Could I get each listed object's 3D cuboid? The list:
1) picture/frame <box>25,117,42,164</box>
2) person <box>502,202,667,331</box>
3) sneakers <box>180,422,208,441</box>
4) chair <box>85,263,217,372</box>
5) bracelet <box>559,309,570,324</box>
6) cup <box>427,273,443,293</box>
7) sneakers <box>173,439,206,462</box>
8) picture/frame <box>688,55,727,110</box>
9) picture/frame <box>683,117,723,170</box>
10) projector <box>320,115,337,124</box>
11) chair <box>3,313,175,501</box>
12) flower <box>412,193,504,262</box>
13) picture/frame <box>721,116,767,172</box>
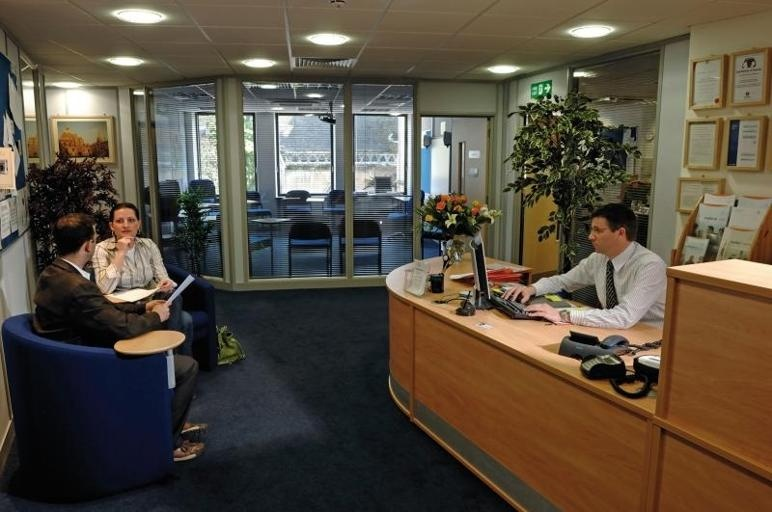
[{"bbox_3d":[-4.174,-1.348,6.049,0.061,0.778,0.734,0,6,-25],"label":"picture/frame"},{"bbox_3d":[1.691,0.025,4.044,1.292,1.046,0.905,-2,7,-9],"label":"person"},{"bbox_3d":[-1.551,1.415,4.144,0.243,0.089,0.076,-3,14,-15],"label":"sneakers"},{"bbox_3d":[-2.170,0.681,5.030,0.877,0.958,0.796,3,6,44],"label":"chair"},{"bbox_3d":[1.276,0.432,3.681,0.069,0.036,0.088,6,14,24],"label":"bracelet"},{"bbox_3d":[0.424,0.237,4.337,0.176,0.143,0.105,-2,7,-4],"label":"cup"},{"bbox_3d":[-1.506,1.476,3.908,0.204,0.082,0.094,-4,11,-24],"label":"sneakers"},{"bbox_3d":[3.151,-1.686,5.042,0.097,0.488,0.344,-6,13,-18],"label":"picture/frame"},{"bbox_3d":[3.158,-1.110,5.130,0.104,0.481,0.355,-6,13,-20],"label":"picture/frame"},{"bbox_3d":[-0.899,-2.105,7.941,0.190,0.059,0.125,0,7,-12],"label":"projector"},{"bbox_3d":[-2.135,1.062,3.920,1.253,1.210,1.366,-7,12,-38],"label":"chair"},{"bbox_3d":[0.615,-0.244,4.797,0.663,0.548,0.675,-6,9,-6],"label":"flower"},{"bbox_3d":[3.362,-1.051,4.831,0.105,0.494,0.354,-7,13,-22],"label":"picture/frame"}]
